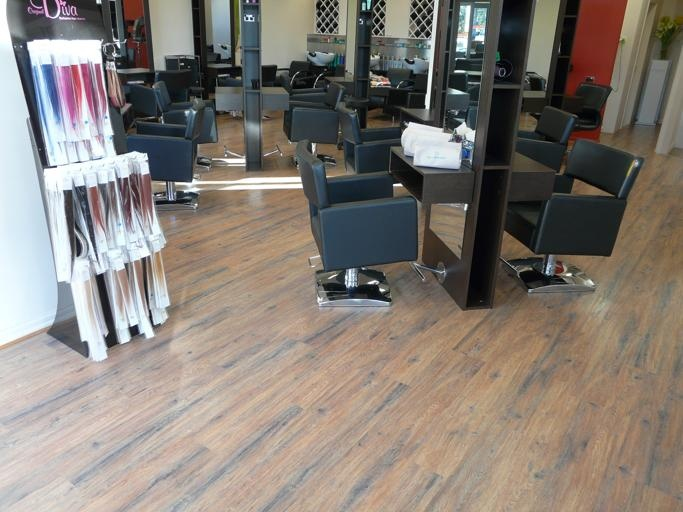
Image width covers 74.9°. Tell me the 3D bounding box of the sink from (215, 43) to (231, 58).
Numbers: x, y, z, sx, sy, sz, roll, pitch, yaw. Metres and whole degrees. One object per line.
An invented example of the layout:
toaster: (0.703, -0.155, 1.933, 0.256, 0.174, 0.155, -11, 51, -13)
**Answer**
sink: (-2.757, -4.740, 10.291, 0.385, 0.356, 0.101, 2, 24, 7)

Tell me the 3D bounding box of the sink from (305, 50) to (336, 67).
sink: (-0.562, -4.681, 10.538, 0.829, 0.314, 0.566, 26, 40, 29)
